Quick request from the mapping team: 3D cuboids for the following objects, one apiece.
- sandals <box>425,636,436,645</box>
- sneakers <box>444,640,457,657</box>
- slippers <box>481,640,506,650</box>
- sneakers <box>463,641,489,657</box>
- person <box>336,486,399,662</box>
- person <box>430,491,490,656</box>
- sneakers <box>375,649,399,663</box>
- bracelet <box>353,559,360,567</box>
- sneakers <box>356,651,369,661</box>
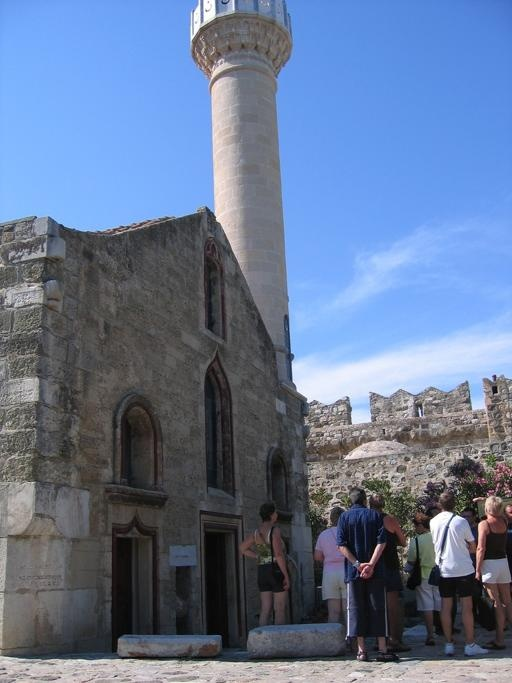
[{"bbox_3d":[1.836,3.157,7.075,0.063,0.064,0.168,0,-17,6],"label":"sandals"},{"bbox_3d":[1.720,2.696,5.881,0.095,0.111,0.271,-3,-9,6],"label":"sneakers"},{"bbox_3d":[2.191,2.798,6.179,0.165,0.066,0.087,-4,-20,31],"label":"slippers"},{"bbox_3d":[1.911,2.618,5.711,0.265,0.106,0.085,7,-19,-21],"label":"sneakers"},{"bbox_3d":[0.933,1.973,5.742,0.418,1.382,0.435,-7,-13,4],"label":"person"},{"bbox_3d":[1.841,2.133,6.164,0.450,1.455,1.014,-10,-13,14],"label":"person"},{"bbox_3d":[1.106,2.561,5.470,0.242,0.091,0.086,3,-15,-8],"label":"sneakers"},{"bbox_3d":[0.850,1.870,5.648,0.042,0.040,0.010,-2,-7,-9],"label":"bracelet"},{"bbox_3d":[0.883,2.588,5.529,0.056,0.061,0.148,1,-15,-2],"label":"sneakers"}]
